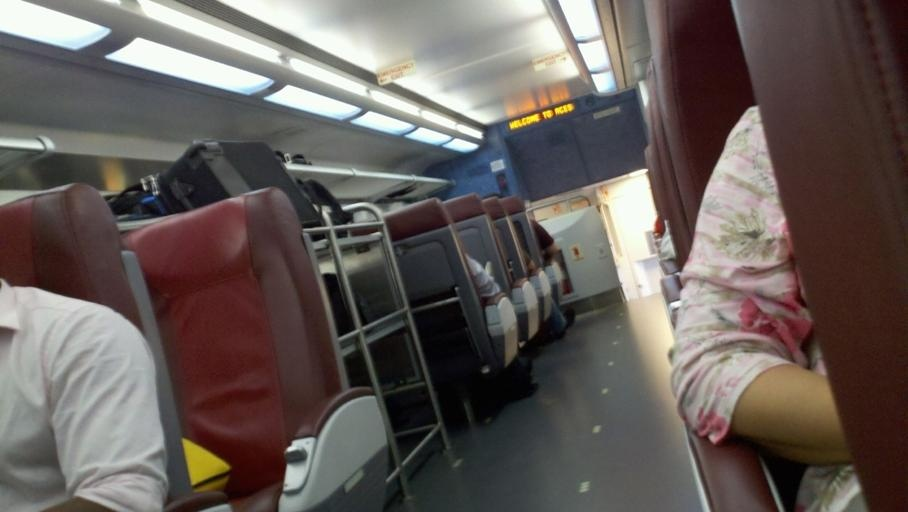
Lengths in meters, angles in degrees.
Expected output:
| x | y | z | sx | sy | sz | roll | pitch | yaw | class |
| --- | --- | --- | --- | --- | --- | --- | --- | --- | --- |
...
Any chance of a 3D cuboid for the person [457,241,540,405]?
| x | y | z | sx | sy | sz | roll | pitch | yaw | class |
| --- | --- | --- | --- | --- | --- | --- | --- | --- | --- |
| 0.322 | 0.522 | 5.734 | 0.665 | 2.038 | 0.515 | -31 | 54 | -10 | person |
